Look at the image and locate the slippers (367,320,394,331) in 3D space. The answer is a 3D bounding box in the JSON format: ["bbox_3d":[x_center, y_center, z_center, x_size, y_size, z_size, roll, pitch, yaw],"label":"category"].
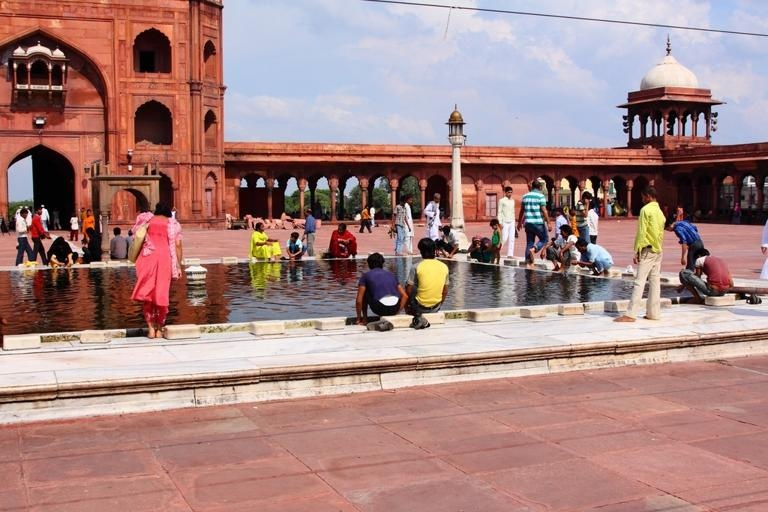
[{"bbox_3d":[-0.032,0.774,8.932,0.148,0.065,0.189,0,-1,33],"label":"slippers"}]

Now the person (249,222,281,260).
[{"bbox_3d":[-2.617,-0.294,17.567,0.880,1.105,0.780,0,8,-4],"label":"person"}]

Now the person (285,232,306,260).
[{"bbox_3d":[-2.009,-0.151,17.706,0.481,0.689,0.606,-1,-6,3],"label":"person"}]

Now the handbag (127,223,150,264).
[{"bbox_3d":[-2.675,-0.145,8.785,0.229,0.370,0.096,16,-2,-17],"label":"handbag"}]

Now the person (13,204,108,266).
[{"bbox_3d":[-6.687,-0.395,16.977,1.271,0.839,1.661,0,-3,-23],"label":"person"}]

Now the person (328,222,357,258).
[{"bbox_3d":[-0.969,-0.322,18.192,0.736,0.776,0.694,2,5,24],"label":"person"}]

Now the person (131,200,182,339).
[{"bbox_3d":[-2.491,0.165,8.800,0.532,1.410,0.764,-1,13,-8],"label":"person"}]

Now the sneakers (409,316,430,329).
[{"bbox_3d":[0.399,0.749,9.110,0.235,0.155,0.276,0,12,-2],"label":"sneakers"}]

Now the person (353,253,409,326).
[{"bbox_3d":[-0.038,0.399,9.495,0.604,0.809,0.586,-1,0,-4],"label":"person"}]

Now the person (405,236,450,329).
[{"bbox_3d":[0.480,0.265,9.428,0.464,0.935,0.317,1,12,1],"label":"person"}]

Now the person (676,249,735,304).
[{"bbox_3d":[4.229,0.291,10.745,0.862,0.690,0.649,8,4,-15],"label":"person"}]
